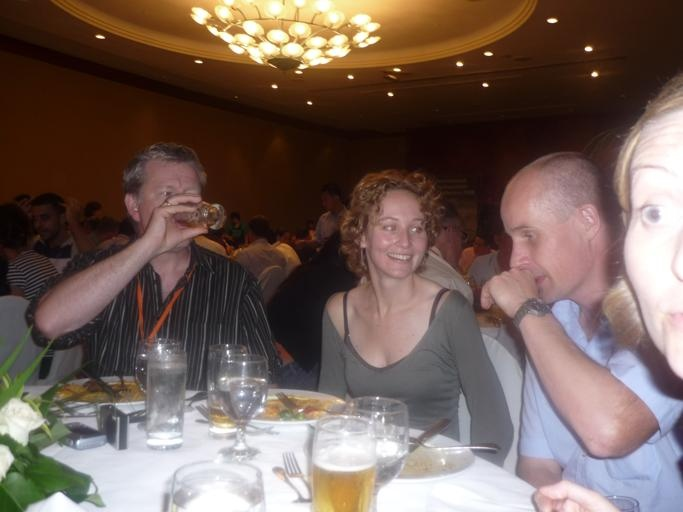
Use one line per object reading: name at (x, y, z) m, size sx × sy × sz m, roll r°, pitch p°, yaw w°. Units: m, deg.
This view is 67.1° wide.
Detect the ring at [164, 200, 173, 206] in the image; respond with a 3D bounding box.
ring at (-0.727, -0.221, 2.160) m, size 0.014 × 0.020 × 0.052 m, roll -2°, pitch 17°, yaw -30°

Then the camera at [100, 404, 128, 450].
camera at (-0.639, 0.469, 1.425) m, size 0.099 × 0.064 × 0.018 m, roll 0°, pitch -3°, yaw 33°

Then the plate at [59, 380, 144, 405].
plate at (-0.770, 0.443, 1.654) m, size 0.153 × 0.022 × 0.159 m, roll 7°, pitch -5°, yaw 4°

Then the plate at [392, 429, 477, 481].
plate at (0.244, 0.528, 1.346) m, size 0.135 × 0.020 × 0.140 m, roll -9°, pitch 9°, yaw 17°

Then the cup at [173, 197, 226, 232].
cup at (-0.588, -0.172, 2.233) m, size 0.136 × 0.124 × 0.216 m, roll 11°, pitch 13°, yaw 43°

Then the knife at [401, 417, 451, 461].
knife at (0.264, 0.508, 1.526) m, size 0.060 × 0.040 × 0.286 m, roll 30°, pitch 26°, yaw 31°

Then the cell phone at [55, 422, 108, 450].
cell phone at (-0.695, 0.484, 1.427) m, size 0.154 × 0.039 × 0.085 m, roll 16°, pitch -4°, yaw -42°

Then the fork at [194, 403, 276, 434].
fork at (-0.305, 0.471, 1.482) m, size 0.267 × 0.041 × 0.037 m, roll 21°, pitch 25°, yaw -3°

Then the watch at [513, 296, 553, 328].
watch at (0.627, 0.178, 1.708) m, size 0.113 × 0.079 × 0.114 m, roll -21°, pitch -24°, yaw -9°
